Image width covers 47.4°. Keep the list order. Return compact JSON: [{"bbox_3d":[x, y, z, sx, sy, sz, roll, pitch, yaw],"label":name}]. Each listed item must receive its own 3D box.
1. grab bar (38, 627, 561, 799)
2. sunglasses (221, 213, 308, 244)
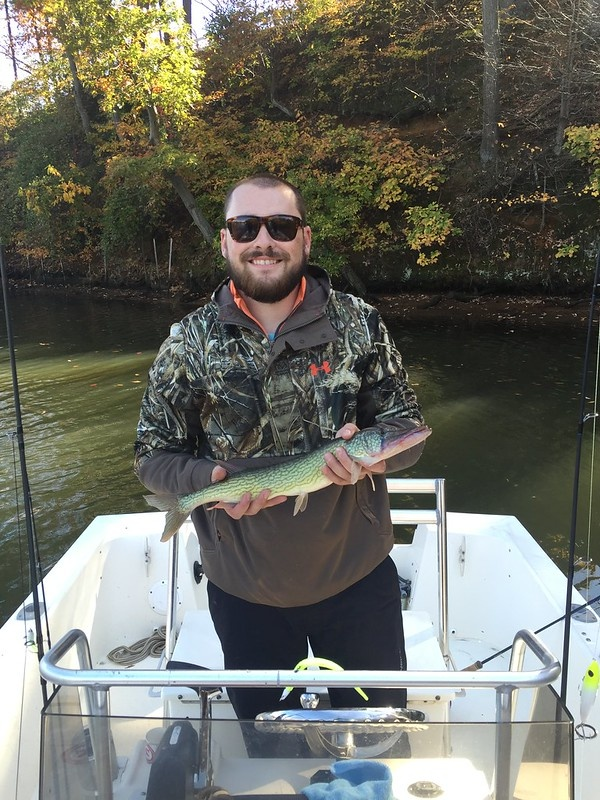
[{"bbox_3d":[0.001,0.670,1.458,0.891,0.451,0.289,0,23,2],"label":"grab bar"},{"bbox_3d":[-0.104,-0.498,1.992,0.217,0.084,0.075,-3,14,-1],"label":"sunglasses"}]
